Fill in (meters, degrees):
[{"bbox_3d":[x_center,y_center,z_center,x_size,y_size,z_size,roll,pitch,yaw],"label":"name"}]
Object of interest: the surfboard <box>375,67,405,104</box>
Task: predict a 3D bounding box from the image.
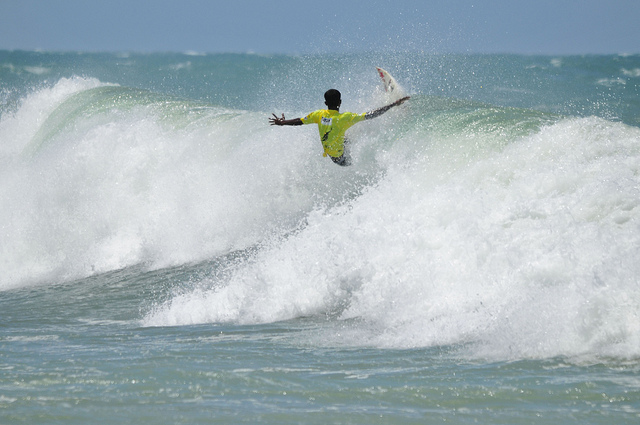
[{"bbox_3d":[1.661,-2.879,23.419,0.401,0.803,0.621,-20,45,-13],"label":"surfboard"}]
